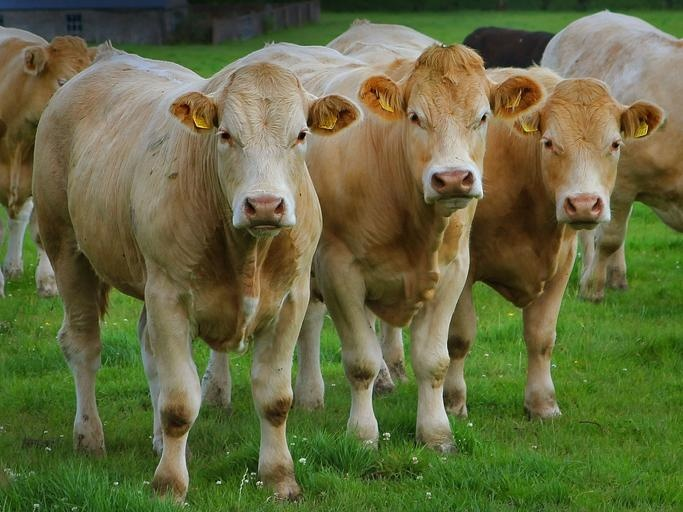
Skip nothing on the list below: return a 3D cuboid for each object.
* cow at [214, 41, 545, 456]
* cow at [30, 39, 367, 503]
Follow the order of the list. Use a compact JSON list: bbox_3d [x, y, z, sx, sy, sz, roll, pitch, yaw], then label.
[{"bbox_3d":[0.263,-0.005,11.036,1.476,3.647,5.212,0,3,-19],"label":"cow"},{"bbox_3d":[-1.263,0.135,9.465,2.662,3.442,1.237,10,12,43],"label":"cow"}]
